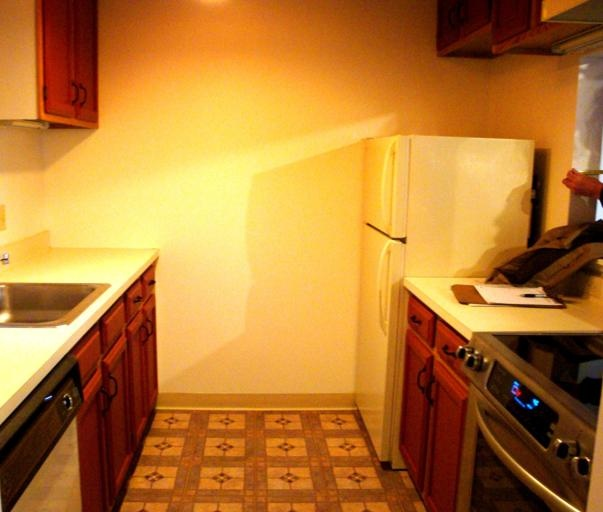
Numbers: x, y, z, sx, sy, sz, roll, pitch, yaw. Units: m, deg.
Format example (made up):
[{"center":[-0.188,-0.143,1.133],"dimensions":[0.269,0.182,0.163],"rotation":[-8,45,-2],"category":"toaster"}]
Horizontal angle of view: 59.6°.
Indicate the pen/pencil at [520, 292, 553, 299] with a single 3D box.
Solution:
[{"center":[0.961,0.162,2.147],"dimensions":[0.166,0.023,0.025],"rotation":[0,-90,4],"category":"pen/pencil"}]
